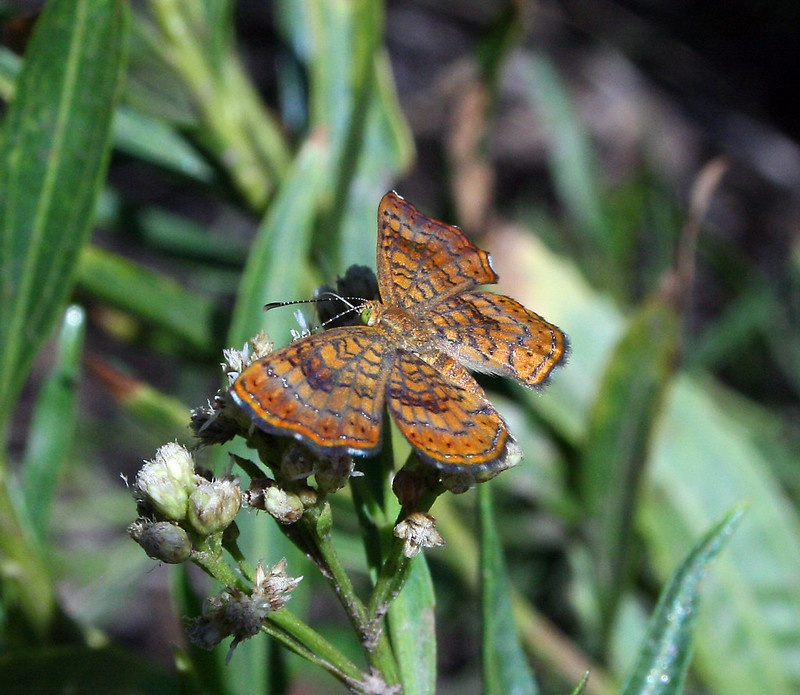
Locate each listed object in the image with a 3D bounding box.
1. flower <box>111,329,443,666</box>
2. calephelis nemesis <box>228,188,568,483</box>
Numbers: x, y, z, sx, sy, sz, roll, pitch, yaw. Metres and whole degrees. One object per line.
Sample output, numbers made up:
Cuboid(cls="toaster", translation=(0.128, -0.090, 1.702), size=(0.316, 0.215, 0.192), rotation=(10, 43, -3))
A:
Cuboid(cls="flower", translation=(-0.157, 0.246, 1.030), size=(0.299, 0.154, 0.354), rotation=(-31, 75, -39))
Cuboid(cls="calephelis nemesis", translation=(-0.032, 0.038, 1.096), size=(0.316, 0.107, 0.388), rotation=(43, 40, -3))
